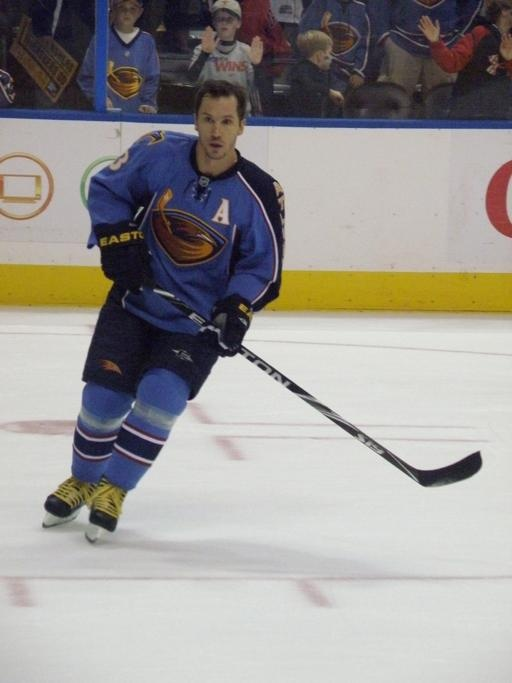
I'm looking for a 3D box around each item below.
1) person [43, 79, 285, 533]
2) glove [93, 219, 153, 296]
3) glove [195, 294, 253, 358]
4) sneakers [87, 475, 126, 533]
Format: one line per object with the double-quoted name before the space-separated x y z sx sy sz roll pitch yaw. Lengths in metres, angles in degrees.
"person" -0.273 -0.100 2.075 0.478 1.086 0.529 20 15 34
"glove" -0.316 -0.205 2.088 0.141 0.157 0.052 -4 -14 0
"glove" -0.060 -0.042 2.075 0.111 0.143 0.063 39 11 13
"sneakers" -0.334 0.367 1.919 0.053 0.055 0.136 27 13 -16
